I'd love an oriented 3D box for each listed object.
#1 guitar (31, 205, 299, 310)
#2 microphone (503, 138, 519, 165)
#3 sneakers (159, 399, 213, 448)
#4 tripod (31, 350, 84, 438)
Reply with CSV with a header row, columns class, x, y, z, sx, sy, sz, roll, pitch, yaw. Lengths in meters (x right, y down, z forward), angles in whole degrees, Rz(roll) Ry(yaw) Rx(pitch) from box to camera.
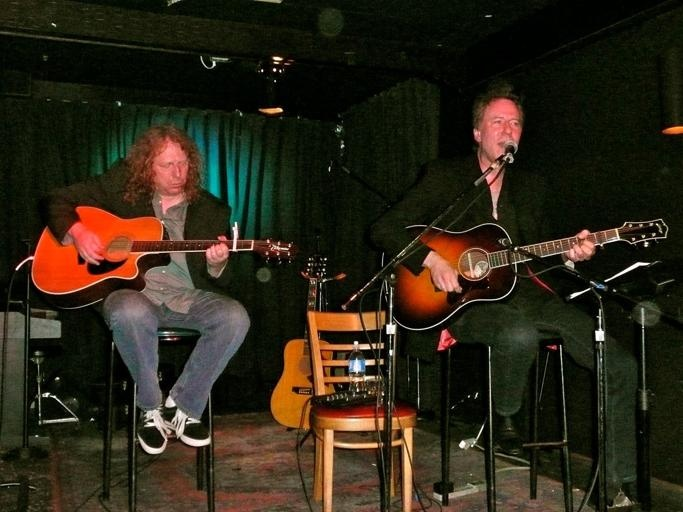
class,x,y,z,sx,sy,sz,roll,pitch,yaw
guitar,-1.291,0.042,4.759,1.632,0.164,0.593,-6,-24,13
microphone,0.979,-0.618,4.251,0.067,0.146,0.300,4,0,15
sneakers,-0.966,1.028,4.569,0.225,0.142,0.454,-3,18,-35
tripod,-2.645,1.276,6.824,0.484,0.538,0.425,14,-15,-17
